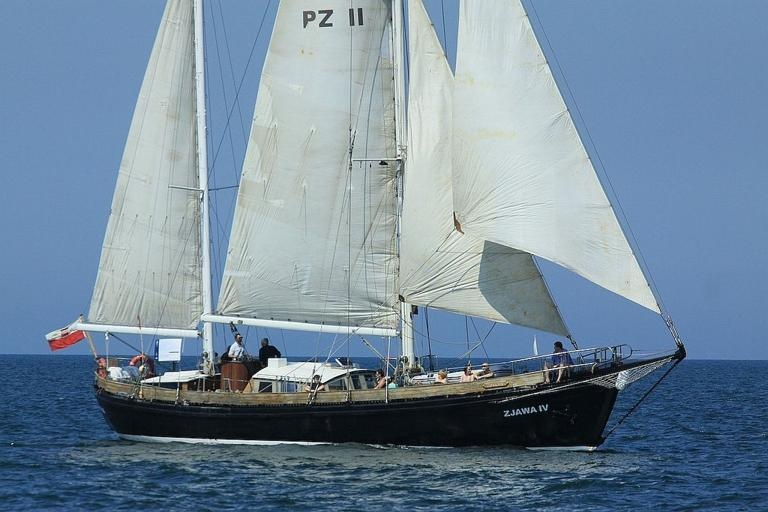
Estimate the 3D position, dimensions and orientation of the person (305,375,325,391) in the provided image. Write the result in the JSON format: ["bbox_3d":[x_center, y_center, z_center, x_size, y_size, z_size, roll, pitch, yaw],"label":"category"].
[{"bbox_3d":[-3.274,6.207,60.087,0.608,0.898,0.225,-5,-17,23],"label":"person"}]

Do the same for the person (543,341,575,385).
[{"bbox_3d":[8.256,5.230,58.541,1.339,1.453,0.824,0,1,7],"label":"person"}]

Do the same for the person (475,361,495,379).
[{"bbox_3d":[4.892,5.466,59.496,0.871,0.913,0.648,-5,1,9],"label":"person"}]

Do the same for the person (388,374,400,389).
[{"bbox_3d":[0.467,5.962,60.045,0.756,0.720,0.412,7,3,7],"label":"person"}]

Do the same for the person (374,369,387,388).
[{"bbox_3d":[-0.161,5.949,60.225,0.510,0.790,1.693,0,1,0],"label":"person"}]
